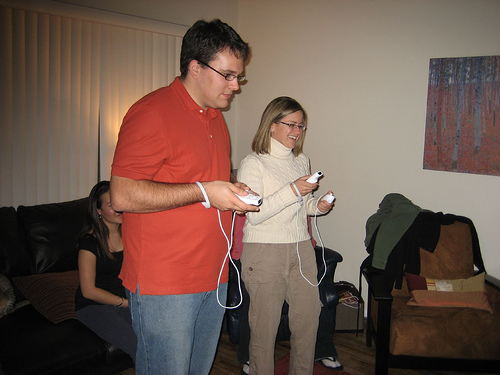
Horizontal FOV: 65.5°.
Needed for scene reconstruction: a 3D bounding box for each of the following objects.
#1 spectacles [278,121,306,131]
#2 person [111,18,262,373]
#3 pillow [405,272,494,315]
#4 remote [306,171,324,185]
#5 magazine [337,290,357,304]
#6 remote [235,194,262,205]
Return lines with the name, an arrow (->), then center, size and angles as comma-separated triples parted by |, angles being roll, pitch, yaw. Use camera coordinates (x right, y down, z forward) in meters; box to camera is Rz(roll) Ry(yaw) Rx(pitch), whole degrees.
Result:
spectacles -> 0.307, -0.433, 2.735 | 0.234, 0.066, 0.084 | -8, 14, -40
person -> -0.314, 0.088, 1.854 | 0.627, 1.741, 0.440 | -2, 11, -17
pillow -> 1.502, 0.720, 3.085 | 0.671, 0.291, 0.500 | 2, 2, 8
remote -> 0.409, -0.075, 2.485 | 0.094, 0.084, 0.180 | 4, 11, 13
magazine -> 0.861, 0.975, 3.474 | 0.103, 0.073, 0.183 | 2, -1, -33
remote -> 0.003, 0.053, 1.760 | 0.143, 0.048, 0.048 | -5, 13, -33
